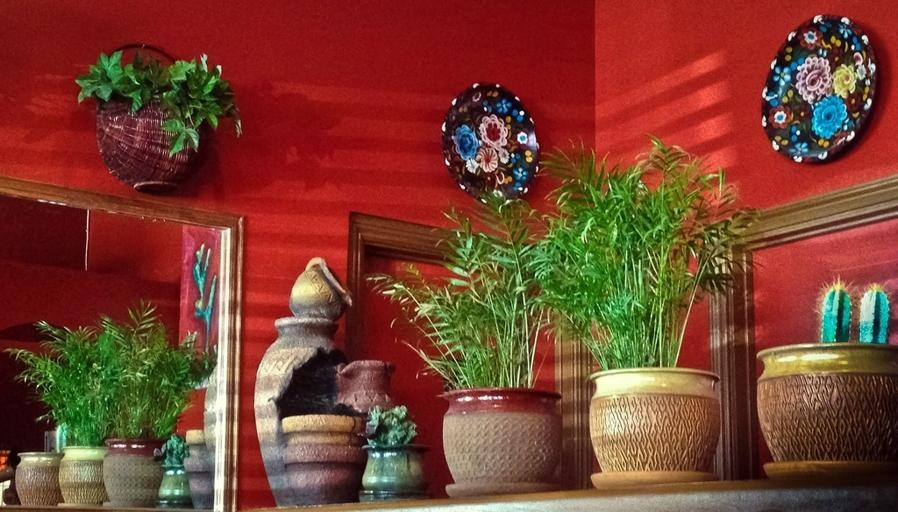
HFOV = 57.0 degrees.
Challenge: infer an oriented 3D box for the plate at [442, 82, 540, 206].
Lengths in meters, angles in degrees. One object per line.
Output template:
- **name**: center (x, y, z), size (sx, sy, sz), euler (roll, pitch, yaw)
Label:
- **plate**: center (0.190, -0.550, 4.416), size (0.602, 0.642, 0.116), euler (-19, 11, -26)

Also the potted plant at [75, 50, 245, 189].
- **potted plant**: center (-1.298, -0.560, 3.810), size (0.680, 0.473, 0.623), euler (12, -22, -39)
